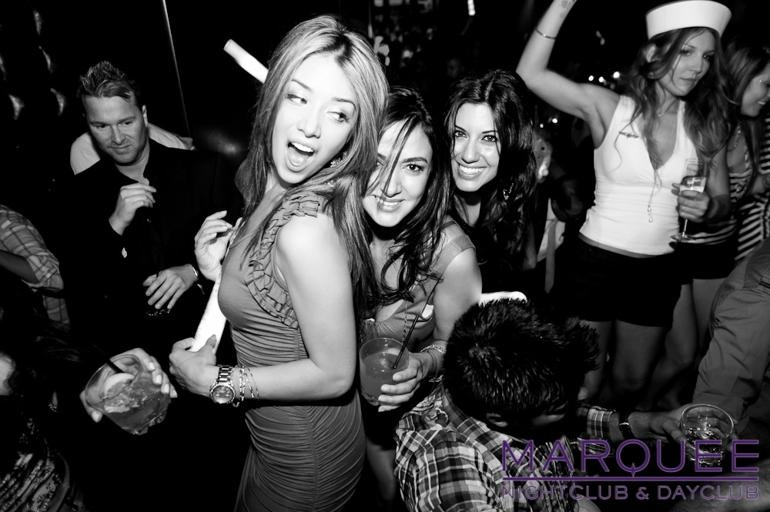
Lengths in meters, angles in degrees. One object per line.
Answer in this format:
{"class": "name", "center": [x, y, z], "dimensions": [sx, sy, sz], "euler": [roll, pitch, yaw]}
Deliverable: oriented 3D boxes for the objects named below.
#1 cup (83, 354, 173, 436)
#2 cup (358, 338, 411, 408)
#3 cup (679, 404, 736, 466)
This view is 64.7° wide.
{"class": "cup", "center": [-1.307, 0.739, 3.128], "dimensions": [0.310, 0.385, 0.306], "euler": [-6, 34, 4]}
{"class": "cup", "center": [0.081, 0.602, 3.309], "dimensions": [0.290, 0.367, 0.320], "euler": [-13, -10, 38]}
{"class": "cup", "center": [1.704, 0.970, 3.254], "dimensions": [0.249, 0.308, 0.298], "euler": [1, 55, 7]}
